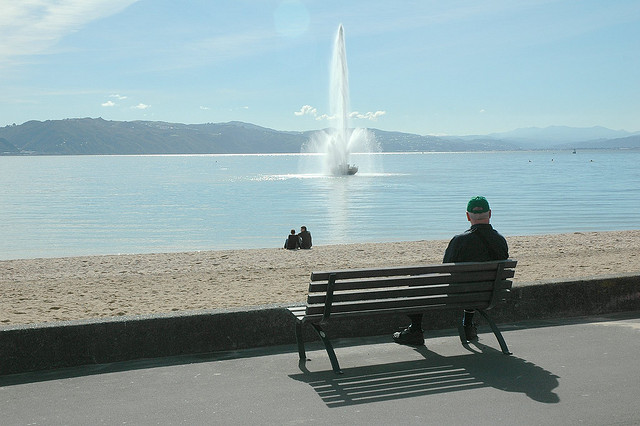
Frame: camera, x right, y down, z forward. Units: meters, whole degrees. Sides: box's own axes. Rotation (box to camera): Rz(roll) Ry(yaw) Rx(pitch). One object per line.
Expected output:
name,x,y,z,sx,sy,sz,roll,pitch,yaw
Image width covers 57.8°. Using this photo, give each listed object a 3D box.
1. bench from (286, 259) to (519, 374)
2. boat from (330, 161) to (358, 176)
bench,0.990,1.130,6.668,2.780,0.952,0.891,0,-8,-27
boat,3.144,-6.035,78.442,2.636,1.262,2.082,0,5,13
